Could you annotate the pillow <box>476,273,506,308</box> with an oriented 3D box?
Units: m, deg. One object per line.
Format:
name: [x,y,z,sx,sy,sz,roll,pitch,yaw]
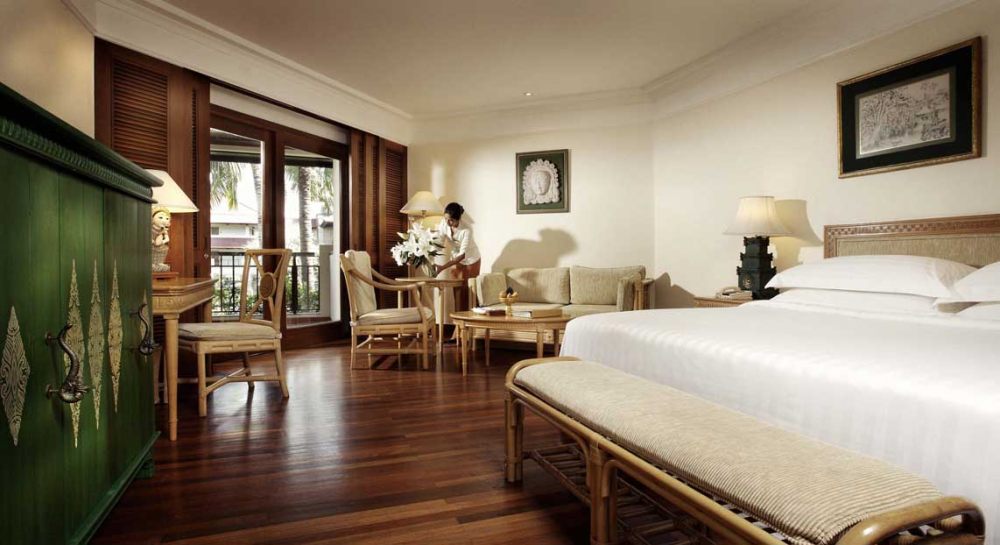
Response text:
pillow: [-0.126,0.223,7.062,0.438,0.338,0.252,0,-4,-43]

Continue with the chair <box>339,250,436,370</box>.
chair: [-1.261,0.384,6.735,1.368,1.467,1.317,0,0,0]

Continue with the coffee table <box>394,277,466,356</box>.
coffee table: [-0.909,0.475,7.474,0.991,0.849,0.919,-2,-5,12]

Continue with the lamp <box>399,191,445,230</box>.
lamp: [-1.112,-0.874,8.198,0.591,0.518,0.560,-3,-9,19]

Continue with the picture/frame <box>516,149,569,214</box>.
picture/frame: [0.574,-1.208,7.736,1.006,0.980,0.142,0,-1,23]
